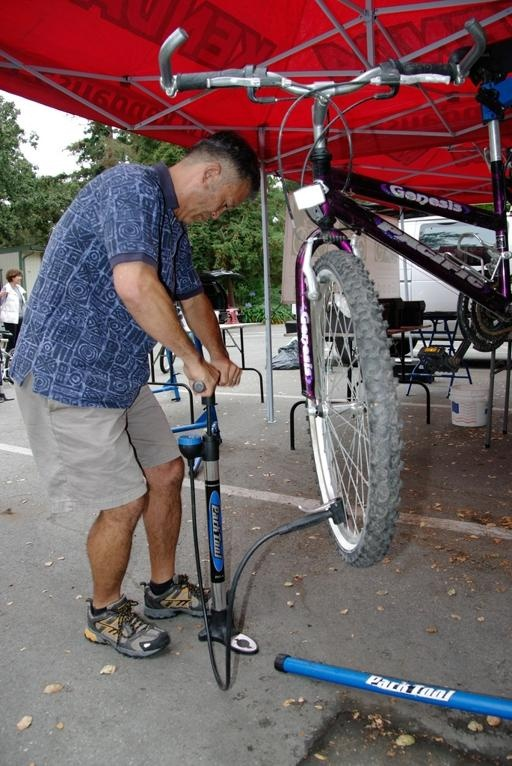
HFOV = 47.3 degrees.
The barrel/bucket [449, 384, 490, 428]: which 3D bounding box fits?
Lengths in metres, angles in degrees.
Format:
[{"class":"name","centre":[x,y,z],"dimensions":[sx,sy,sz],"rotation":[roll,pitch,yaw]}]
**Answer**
[{"class":"barrel/bucket","centre":[1.890,0.199,5.254],"dimensions":[0.361,0.331,0.353],"rotation":[-1,6,0]}]

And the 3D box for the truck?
[{"class":"truck","centre":[1.639,-1.470,8.871],"dimensions":[2.358,2.221,3.962],"rotation":[-6,8,-45]}]

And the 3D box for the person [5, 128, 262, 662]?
[{"class":"person","centre":[-0.381,0.079,1.953],"dimensions":[0.786,1.736,0.711],"rotation":[-6,9,-21]}]

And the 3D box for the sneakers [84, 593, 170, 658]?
[{"class":"sneakers","centre":[-0.464,0.857,2.111],"dimensions":[0.324,0.149,0.142],"rotation":[8,10,27]}]

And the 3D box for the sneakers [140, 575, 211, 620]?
[{"class":"sneakers","centre":[-0.312,0.842,2.349],"dimensions":[0.375,0.179,0.152],"rotation":[-1,5,2]}]
